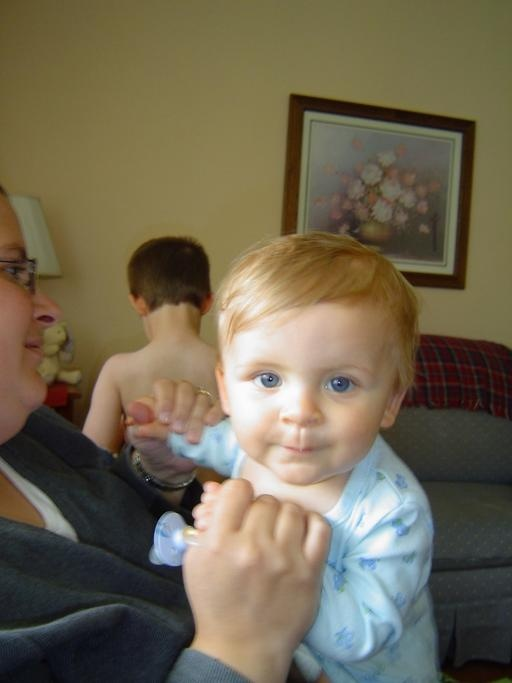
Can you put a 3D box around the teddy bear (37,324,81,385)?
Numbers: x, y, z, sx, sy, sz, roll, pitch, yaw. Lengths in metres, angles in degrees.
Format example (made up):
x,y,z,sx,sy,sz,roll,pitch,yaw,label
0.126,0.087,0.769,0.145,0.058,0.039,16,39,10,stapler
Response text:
x,y,z,sx,sy,sz,roll,pitch,yaw,label
-0.825,0.037,2.470,0.207,0.268,0.183,11,5,-22,teddy bear
